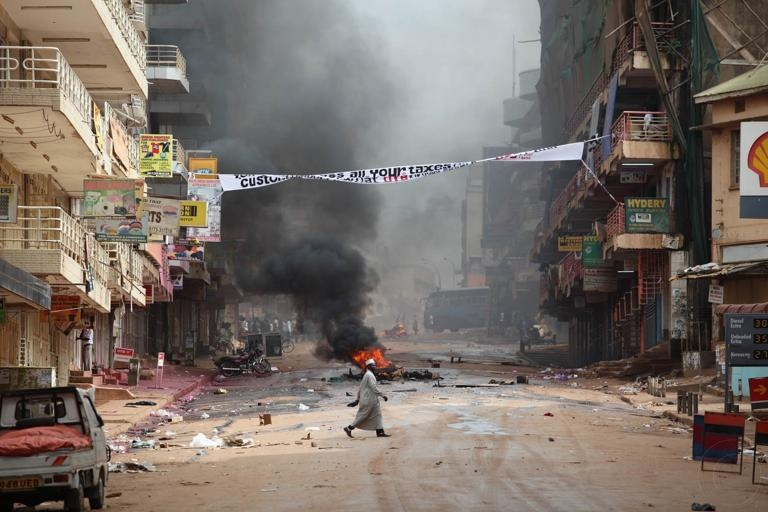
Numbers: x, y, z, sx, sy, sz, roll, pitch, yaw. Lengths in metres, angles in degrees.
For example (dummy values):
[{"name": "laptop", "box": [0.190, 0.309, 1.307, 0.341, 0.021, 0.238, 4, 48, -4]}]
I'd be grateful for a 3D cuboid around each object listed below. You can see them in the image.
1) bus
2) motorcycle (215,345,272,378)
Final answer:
[{"name": "bus", "box": [8.611, 5.132, 132.934, 3.698, 3.620, 11.258, 2, -4, -38]}, {"name": "motorcycle", "box": [-6.968, 5.431, 67.933, 2.510, 1.438, 1.295, -1, -2, -20]}]
